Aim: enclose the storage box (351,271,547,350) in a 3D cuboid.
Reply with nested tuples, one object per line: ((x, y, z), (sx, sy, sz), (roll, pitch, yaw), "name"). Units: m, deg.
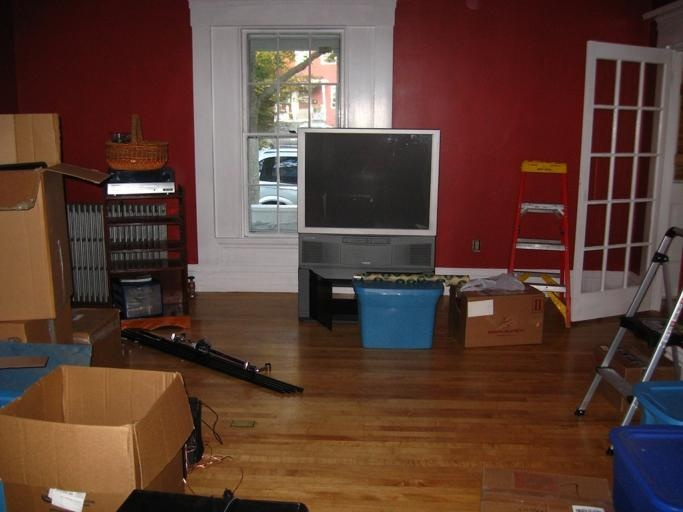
((0.855, 0.450, 4.576), (1.124, 0.438, 0.666), (-1, 8, 2), "storage box")

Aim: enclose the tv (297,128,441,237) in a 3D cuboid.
((0.243, -0.642, 4.995), (0.864, 0.673, 0.088), (0, 9, 1), "tv")

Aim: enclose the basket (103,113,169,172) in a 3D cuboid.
((-1.750, -0.983, 4.984), (0.543, 0.503, 0.554), (15, 17, 31), "basket")
